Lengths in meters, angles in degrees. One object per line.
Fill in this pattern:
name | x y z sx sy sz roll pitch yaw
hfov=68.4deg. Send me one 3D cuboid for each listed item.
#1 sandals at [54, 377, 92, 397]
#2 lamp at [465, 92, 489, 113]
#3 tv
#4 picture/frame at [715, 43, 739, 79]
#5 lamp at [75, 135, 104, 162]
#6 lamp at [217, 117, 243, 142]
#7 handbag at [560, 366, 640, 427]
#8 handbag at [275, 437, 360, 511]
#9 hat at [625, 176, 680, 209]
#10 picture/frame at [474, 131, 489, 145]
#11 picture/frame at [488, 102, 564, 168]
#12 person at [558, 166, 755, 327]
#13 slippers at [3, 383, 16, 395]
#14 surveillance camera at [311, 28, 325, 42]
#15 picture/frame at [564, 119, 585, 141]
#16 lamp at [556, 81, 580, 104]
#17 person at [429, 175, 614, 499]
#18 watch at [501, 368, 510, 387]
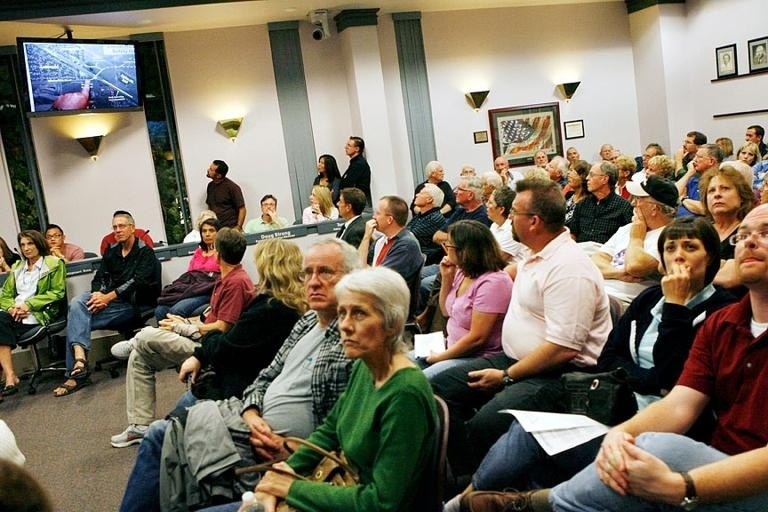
sandals | -2.910 1.225 5.299 0.123 0.128 0.320 -3 -3 29
lamp | 1.571 -2.627 9.506 0.342 0.296 0.320 -1 -4 -4
tv | -3.919 -2.309 7.239 1.121 0.772 0.085 -7 16 -26
picture/frame | 5.752 -3.259 9.478 0.048 0.526 0.361 -11 12 -27
lamp | -4.110 -1.508 7.953 0.334 0.341 0.334 -4 5 -17
lamp | -2.296 -1.918 8.444 0.343 0.305 0.321 -9 -11 -11
handbag | 0.958 0.636 2.582 0.179 0.230 0.330 2 -10 -31
handbag | -0.270 0.895 2.446 0.394 0.280 0.283 5 26 5
hat | 1.734 -0.423 3.643 0.287 0.114 0.188 21 19 9
picture/frame | 1.646 -2.020 9.629 0.247 0.179 0.021 -3 4 -18
picture/frame | 2.368 -2.086 9.701 1.567 1.277 0.061 -5 -5 -20
person | 1.804 -0.123 3.770 1.126 0.467 0.840 -12 15 -13
slippers | -3.509 1.252 5.299 0.114 0.080 0.094 -12 13 -31
surveillance camera | -0.992 -3.315 8.496 0.156 0.142 0.421 -7 11 -8
picture/frame | 3.394 -2.267 10.141 0.379 0.330 0.031 -5 4 -20
lamp | 3.292 -2.882 10.085 0.337 0.289 0.387 0 0 3
person | 0.742 0.521 3.313 1.151 1.827 0.865 -3 6 -1
watch | 0.655 0.651 3.024 0.048 0.076 0.075 -2 -10 25
